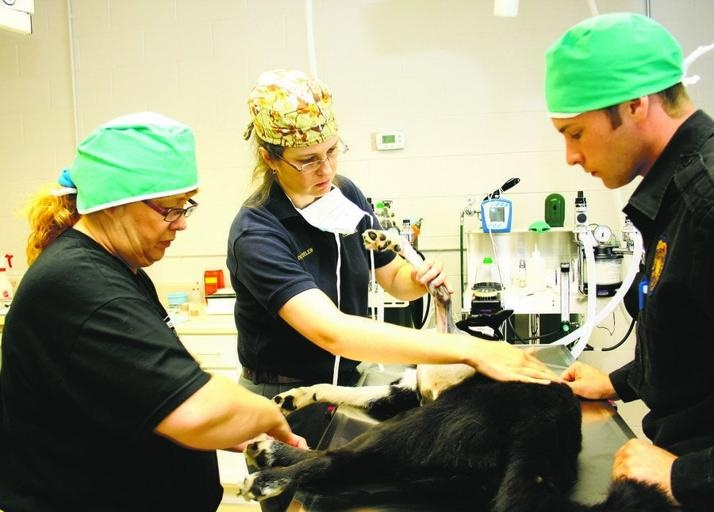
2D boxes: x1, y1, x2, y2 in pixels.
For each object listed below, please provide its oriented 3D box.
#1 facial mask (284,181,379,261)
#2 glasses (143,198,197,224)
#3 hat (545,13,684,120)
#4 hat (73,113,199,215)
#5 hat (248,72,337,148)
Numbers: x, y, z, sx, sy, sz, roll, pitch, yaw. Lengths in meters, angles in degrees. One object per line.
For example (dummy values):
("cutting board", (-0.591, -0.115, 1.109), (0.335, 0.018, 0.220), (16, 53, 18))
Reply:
("facial mask", (-0.080, -0.143, 2.041), (0.184, 0.186, 0.049), (-39, -20, -19))
("glasses", (-0.534, -0.127, 1.669), (0.083, 0.023, 0.082), (26, 15, 13))
("hat", (0.772, -0.524, 1.718), (0.333, 0.198, 0.337), (-3, 16, 25))
("hat", (-0.647, -0.255, 1.666), (0.309, 0.222, 0.306), (5, 15, 15))
("hat", (-0.215, -0.489, 1.960), (0.233, 0.183, 0.297), (-20, 22, -36))
